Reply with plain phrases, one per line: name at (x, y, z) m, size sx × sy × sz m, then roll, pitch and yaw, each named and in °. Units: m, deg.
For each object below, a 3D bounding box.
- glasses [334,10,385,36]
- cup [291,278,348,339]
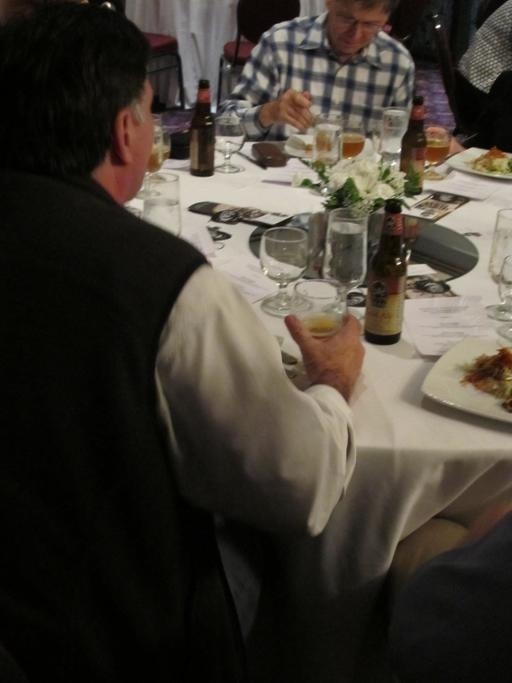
glasses at (0.430, -1.353, 2.312) m, size 0.109 × 0.057 × 0.144 m, roll 8°, pitch 38°, yaw 1°
cup at (0.106, -0.068, 1.023) m, size 0.101 × 0.113 × 0.103 m, roll -1°, pitch 21°, yaw 0°
